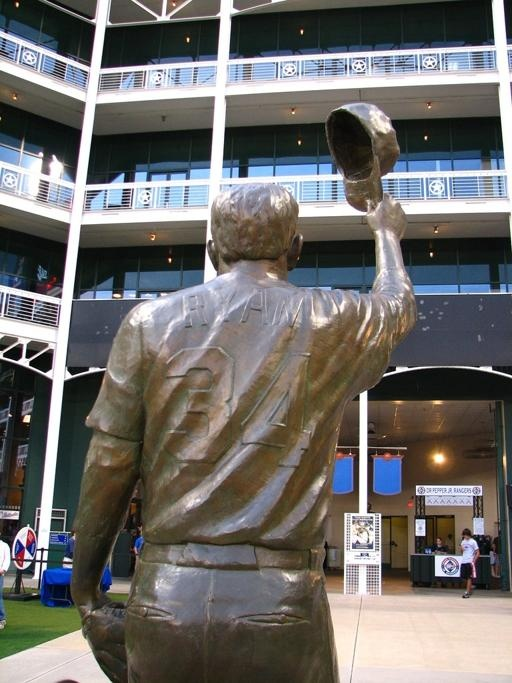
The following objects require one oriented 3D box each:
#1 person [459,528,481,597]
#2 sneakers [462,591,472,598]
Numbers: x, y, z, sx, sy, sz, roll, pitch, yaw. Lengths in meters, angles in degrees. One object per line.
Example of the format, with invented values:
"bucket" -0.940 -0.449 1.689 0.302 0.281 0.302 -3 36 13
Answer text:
"person" 5.854 6.014 16.005 0.460 1.766 1.436 -1 -12 19
"sneakers" 5.593 6.652 15.448 0.175 0.222 0.535 -8 -27 13
